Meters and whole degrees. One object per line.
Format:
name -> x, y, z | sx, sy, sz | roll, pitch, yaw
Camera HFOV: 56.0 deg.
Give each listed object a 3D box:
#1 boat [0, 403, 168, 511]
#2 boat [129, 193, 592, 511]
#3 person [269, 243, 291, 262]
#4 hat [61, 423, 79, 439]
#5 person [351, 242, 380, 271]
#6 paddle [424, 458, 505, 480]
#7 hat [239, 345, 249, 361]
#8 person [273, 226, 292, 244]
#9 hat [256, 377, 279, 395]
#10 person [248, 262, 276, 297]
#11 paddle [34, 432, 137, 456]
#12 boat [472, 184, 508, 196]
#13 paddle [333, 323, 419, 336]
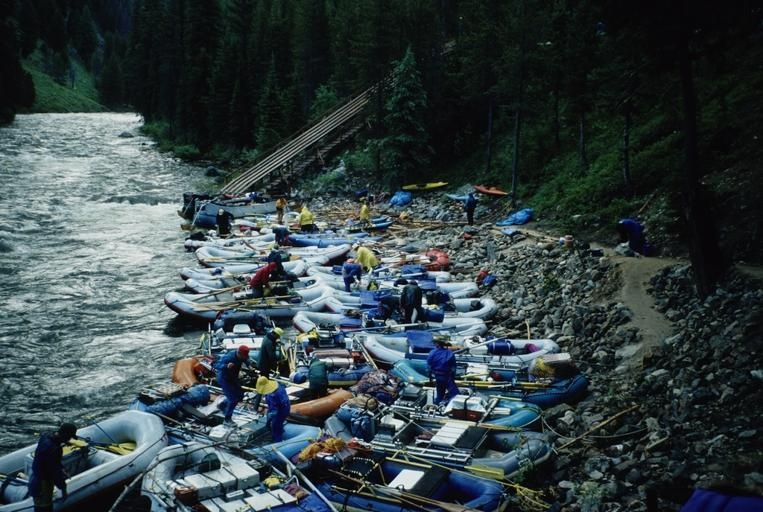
boat -> -7.662, 5.545, 19.137 | 2.173, 0.890, 3.883 | 13, 23, 39
boat -> -0.501, 3.235, 24.202 | 17.725, 2.705, 10.534 | 2, 35, 10
person -> -4.468, -0.073, 31.327 | 0.881, 0.448, 1.451 | 17, -2, 5
hat -> -7.911, 4.469, 18.260 | 0.411, 0.415, 0.476 | 6, 7, -19
person -> -0.730, 0.117, 31.033 | 0.821, 0.747, 1.742 | 25, -4, -22
paddle -> 2.103, 5.678, 18.928 | 2.856, 0.237, 0.209 | 6, -3, 11
hat -> -4.074, 2.877, 21.123 | 0.321, 0.212, 0.394 | 2, 48, -46
person -> -4.916, -0.987, 35.083 | 0.835, 0.821, 0.936 | 0, 30, -12
hat -> -3.222, 3.668, 20.002 | 0.654, 0.225, 0.476 | 7, 40, 27
person -> -4.733, 1.036, 28.407 | 0.776, 1.421, 0.584 | 9, 45, -46
paddle -> -7.897, 5.062, 19.120 | 1.483, 0.304, 1.101 | 1, 0, -35
boat -> 5.702, -3.252, 38.173 | 1.816, 0.292, 0.675 | 15, 35, 26
paddle -> -0.078, 2.648, 25.177 | 3.144, 0.522, 0.841 | -3, 2, 3
